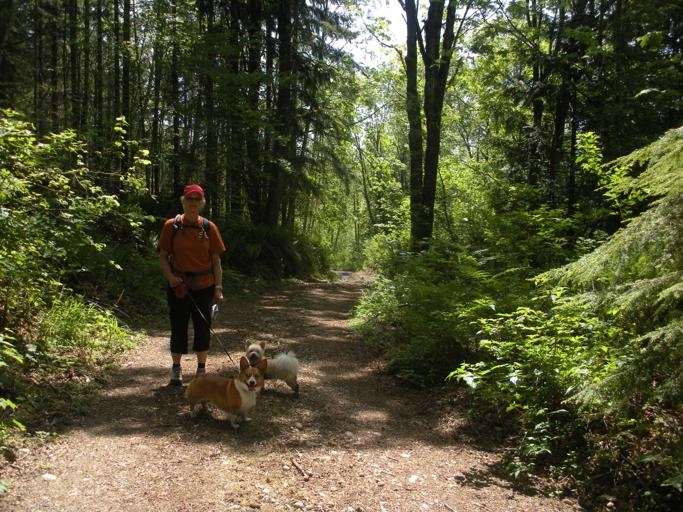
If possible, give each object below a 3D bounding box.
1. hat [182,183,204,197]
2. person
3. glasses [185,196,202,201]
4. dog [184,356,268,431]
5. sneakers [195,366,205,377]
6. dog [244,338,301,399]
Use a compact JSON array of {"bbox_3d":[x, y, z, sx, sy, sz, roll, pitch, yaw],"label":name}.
[{"bbox_3d":[-2.205,-0.965,9.816,0.254,0.175,0.311,3,6,0],"label":"hat"},{"bbox_3d":[-2.293,0.454,9.897,0.966,3.026,0.459,2,8,-10],"label":"person"},{"bbox_3d":[-2.190,-0.842,9.676,0.142,0.072,0.168,16,19,8],"label":"glasses"},{"bbox_3d":[-1.633,1.877,9.283,1.644,0.813,0.525,-5,-3,41],"label":"dog"},{"bbox_3d":[-2.140,1.755,9.944,0.201,0.155,0.129,4,7,1],"label":"sneakers"},{"bbox_3d":[-1.051,1.771,10.383,1.175,0.796,0.413,-6,-4,31],"label":"dog"}]
